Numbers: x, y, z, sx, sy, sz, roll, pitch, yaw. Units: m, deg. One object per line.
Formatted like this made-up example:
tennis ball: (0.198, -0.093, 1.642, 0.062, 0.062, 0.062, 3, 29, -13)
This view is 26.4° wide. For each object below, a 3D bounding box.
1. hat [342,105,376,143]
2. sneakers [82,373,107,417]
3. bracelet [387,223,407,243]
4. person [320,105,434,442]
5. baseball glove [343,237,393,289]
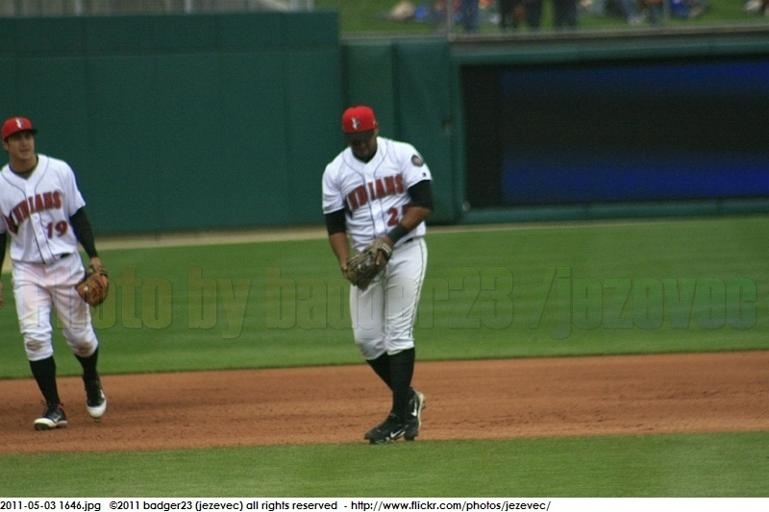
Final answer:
hat: (-0.241, -1.284, 15.565, 0.304, 0.322, 0.308, 0, 9, 1)
sneakers: (-2.870, 1.382, 16.261, 0.172, 0.452, 0.184, -9, -21, -5)
bracelet: (0.114, -0.232, 15.521, 0.148, 0.174, 0.158, 10, 11, -41)
person: (-0.046, 0.154, 15.569, 0.986, 3.168, 0.671, 0, 10, 0)
baseball glove: (-0.156, 0.051, 15.415, 0.472, 0.334, 0.172, -43, 9, 4)
